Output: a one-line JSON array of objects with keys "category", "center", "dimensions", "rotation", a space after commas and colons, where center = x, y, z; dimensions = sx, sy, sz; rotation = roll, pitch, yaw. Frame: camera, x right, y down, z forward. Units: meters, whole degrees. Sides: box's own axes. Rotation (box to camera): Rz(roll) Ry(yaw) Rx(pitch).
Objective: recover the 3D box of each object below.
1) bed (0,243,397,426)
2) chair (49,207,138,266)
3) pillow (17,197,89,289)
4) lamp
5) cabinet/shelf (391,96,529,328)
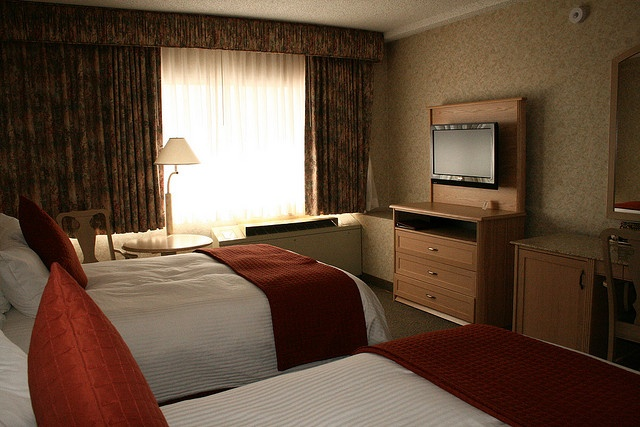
[{"category": "bed", "center": [-1.071, 0.695, 3.041], "dimensions": [1.591, 0.612, 1.249], "rotation": [-4, 7, -28]}, {"category": "chair", "center": [-2.286, 0.135, 4.663], "dimensions": [0.589, 0.951, 0.622], "rotation": [-7, 7, -35]}, {"category": "pillow", "center": [-1.891, 0.201, 3.209], "dimensions": [0.322, 0.584, 0.648], "rotation": [-1, -7, -18]}, {"category": "lamp", "center": [-1.488, -0.287, 4.752], "dimensions": [0.418, 1.001, 0.572], "rotation": [-4, 8, -23]}, {"category": "cabinet/shelf", "center": [1.463, -0.026, 4.654], "dimensions": [1.286, 2.239, 0.892], "rotation": [5, 10, 38]}]
